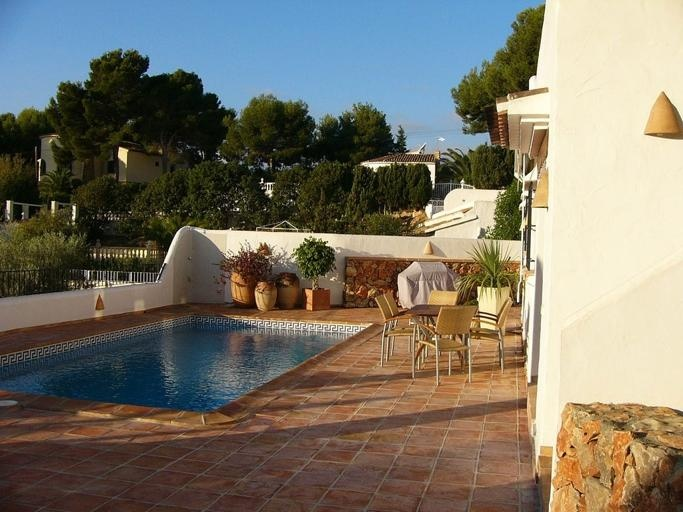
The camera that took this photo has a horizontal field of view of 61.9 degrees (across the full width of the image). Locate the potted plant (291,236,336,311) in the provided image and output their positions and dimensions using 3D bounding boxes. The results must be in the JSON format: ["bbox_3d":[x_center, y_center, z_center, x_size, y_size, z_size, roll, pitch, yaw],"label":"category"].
[{"bbox_3d":[-0.656,0.458,15.565,0.935,1.983,1.205,1,2,29],"label":"potted plant"}]

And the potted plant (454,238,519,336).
[{"bbox_3d":[3.363,0.596,12.548,0.990,1.857,1.100,-4,6,-1],"label":"potted plant"}]

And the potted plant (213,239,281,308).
[{"bbox_3d":[-2.530,0.531,15.795,1.420,1.874,1.212,3,4,-7],"label":"potted plant"}]
